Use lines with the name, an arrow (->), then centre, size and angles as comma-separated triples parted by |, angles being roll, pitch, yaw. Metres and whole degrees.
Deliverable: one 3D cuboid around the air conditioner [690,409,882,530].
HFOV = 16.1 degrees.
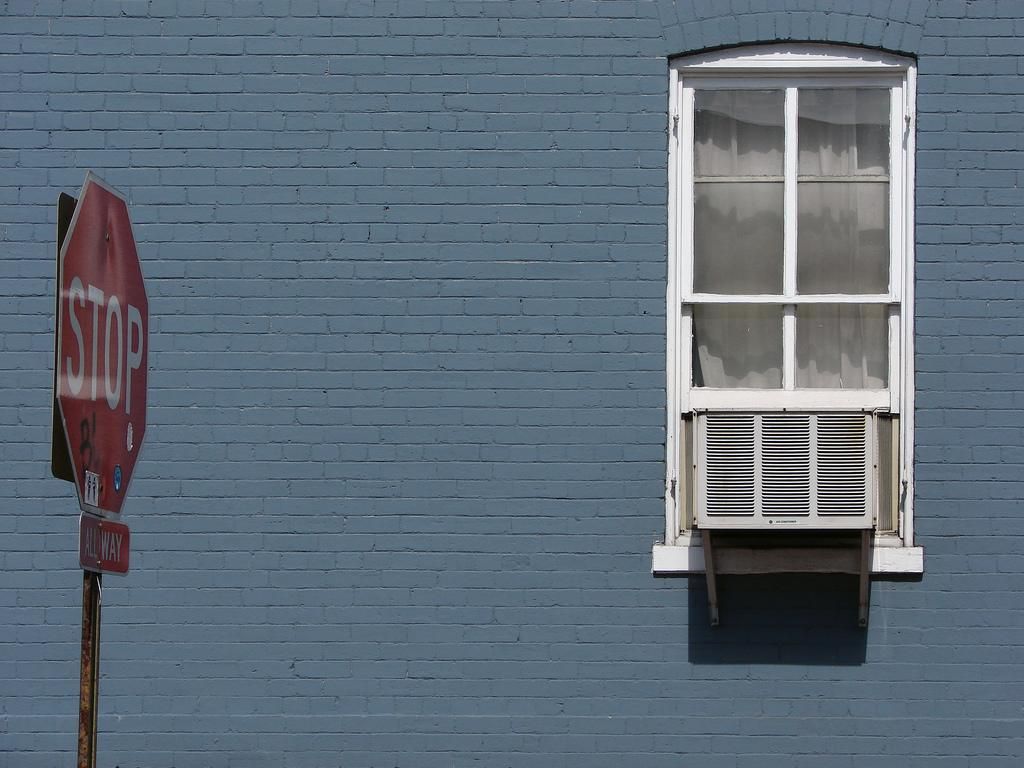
air conditioner -> 1.619, 0.551, 22.057 | 1.059, 0.700, 0.690 | -1, -2, -1
